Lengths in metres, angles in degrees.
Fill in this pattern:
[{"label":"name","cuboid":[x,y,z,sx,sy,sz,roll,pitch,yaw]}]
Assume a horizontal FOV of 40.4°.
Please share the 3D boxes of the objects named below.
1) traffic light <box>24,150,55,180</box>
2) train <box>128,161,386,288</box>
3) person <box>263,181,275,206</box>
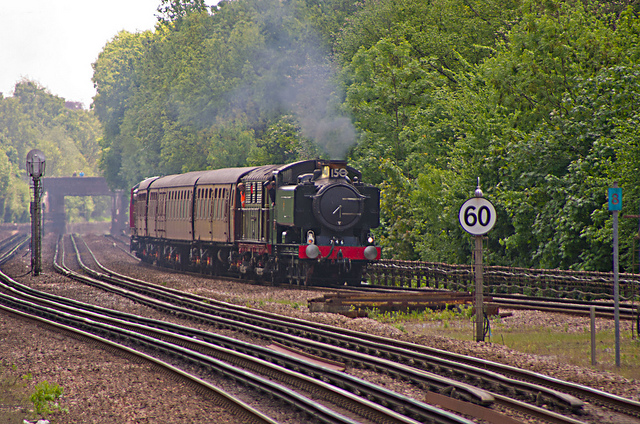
[{"label":"traffic light","cuboid":[-15.402,-2.294,46.993,1.138,0.750,1.923,18,8,-33]},{"label":"train","cuboid":[-4.892,0.431,49.194,5.236,5.326,22.459,-1,2,-26]},{"label":"person","cuboid":[-2.404,-0.882,41.544,0.211,1.145,0.537,1,-2,-39]}]
